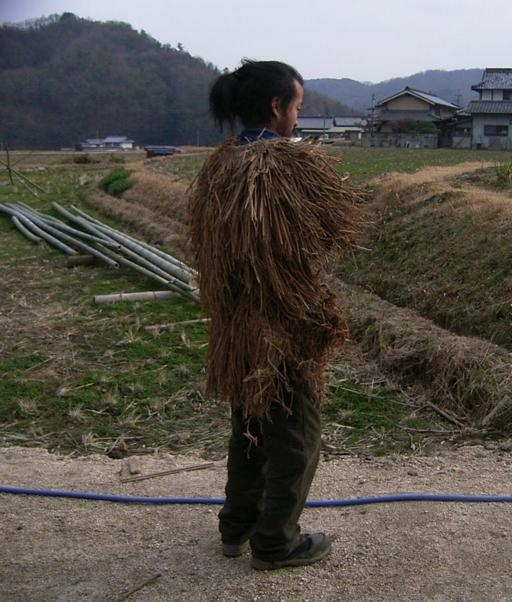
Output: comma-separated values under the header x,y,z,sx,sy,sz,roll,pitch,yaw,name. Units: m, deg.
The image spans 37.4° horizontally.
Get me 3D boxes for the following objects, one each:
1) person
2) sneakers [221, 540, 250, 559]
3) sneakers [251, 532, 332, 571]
x,y,z,sx,sy,sz,roll,pitch,yaw,name
0.060,0.070,3.097,0.496,2.068,0.612,-1,14,-22,person
-0.089,1.053,3.210,0.053,0.044,0.133,2,3,30,sneakers
0.127,1.038,3.124,0.368,0.121,0.119,-8,13,-23,sneakers
